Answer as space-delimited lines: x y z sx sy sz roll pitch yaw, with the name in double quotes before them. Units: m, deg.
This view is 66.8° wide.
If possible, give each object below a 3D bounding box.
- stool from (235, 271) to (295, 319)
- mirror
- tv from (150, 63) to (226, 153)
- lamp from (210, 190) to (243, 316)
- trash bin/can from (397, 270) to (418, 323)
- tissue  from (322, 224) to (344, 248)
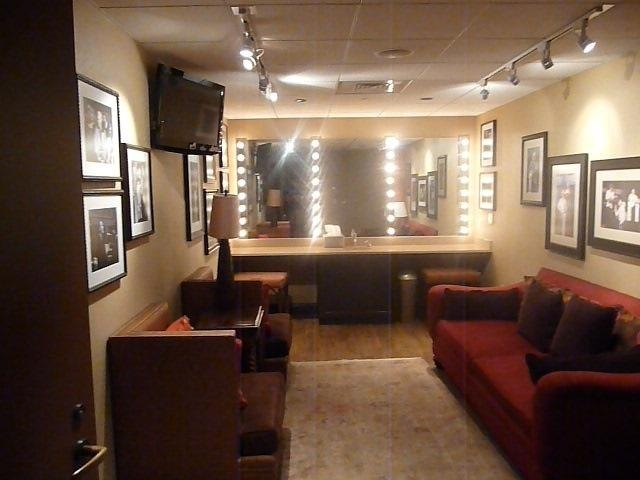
"stool" -0.622 0.594 5.760 0.489 0.724 0.579 0 11 1
"mirror" 0.461 -0.697 6.260 2.985 1.263 0.183 -1 9 -2
"tv" -0.997 -0.964 3.729 0.075 0.583 0.790 10 10 23
"lamp" -0.794 0.087 4.070 0.250 0.959 0.362 -3 9 -11
"trash bin/can" 1.044 0.686 5.789 0.190 0.598 0.141 0 9 9
"tissue " 0.169 -0.051 6.114 0.255 0.380 0.263 -2 -2 33
